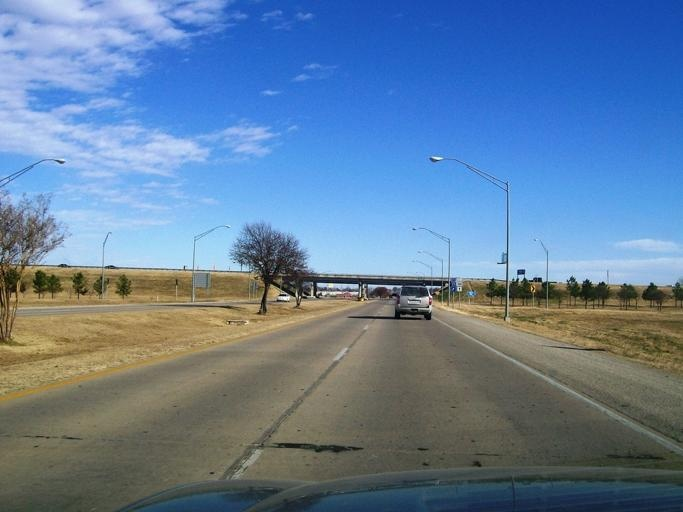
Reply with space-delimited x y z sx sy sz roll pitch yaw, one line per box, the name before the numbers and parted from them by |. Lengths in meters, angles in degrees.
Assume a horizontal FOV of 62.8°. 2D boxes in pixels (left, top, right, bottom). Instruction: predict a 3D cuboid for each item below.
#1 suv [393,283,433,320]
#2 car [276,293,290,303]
suv | 4.484 2.769 34.354 2.106 1.875 2.162 3 -5 6
car | -9.385 6.825 90.804 1.350 1.223 2.465 1 2 12
